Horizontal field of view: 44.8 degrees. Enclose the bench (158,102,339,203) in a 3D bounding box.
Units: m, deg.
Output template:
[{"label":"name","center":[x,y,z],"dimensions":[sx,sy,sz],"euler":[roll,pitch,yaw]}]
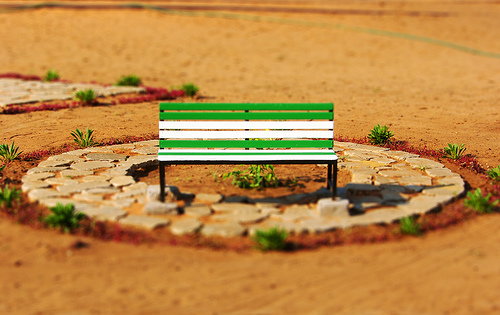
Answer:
[{"label":"bench","center":[-0.079,-0.059,13.087],"dimensions":[3.826,1.893,1.233],"euler":[0,-9,-5]}]
